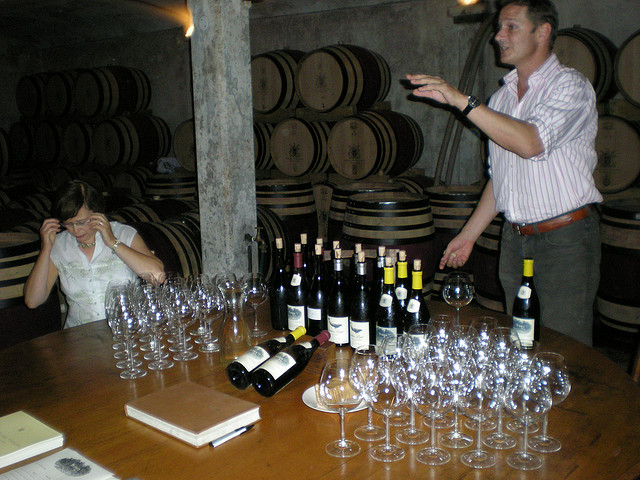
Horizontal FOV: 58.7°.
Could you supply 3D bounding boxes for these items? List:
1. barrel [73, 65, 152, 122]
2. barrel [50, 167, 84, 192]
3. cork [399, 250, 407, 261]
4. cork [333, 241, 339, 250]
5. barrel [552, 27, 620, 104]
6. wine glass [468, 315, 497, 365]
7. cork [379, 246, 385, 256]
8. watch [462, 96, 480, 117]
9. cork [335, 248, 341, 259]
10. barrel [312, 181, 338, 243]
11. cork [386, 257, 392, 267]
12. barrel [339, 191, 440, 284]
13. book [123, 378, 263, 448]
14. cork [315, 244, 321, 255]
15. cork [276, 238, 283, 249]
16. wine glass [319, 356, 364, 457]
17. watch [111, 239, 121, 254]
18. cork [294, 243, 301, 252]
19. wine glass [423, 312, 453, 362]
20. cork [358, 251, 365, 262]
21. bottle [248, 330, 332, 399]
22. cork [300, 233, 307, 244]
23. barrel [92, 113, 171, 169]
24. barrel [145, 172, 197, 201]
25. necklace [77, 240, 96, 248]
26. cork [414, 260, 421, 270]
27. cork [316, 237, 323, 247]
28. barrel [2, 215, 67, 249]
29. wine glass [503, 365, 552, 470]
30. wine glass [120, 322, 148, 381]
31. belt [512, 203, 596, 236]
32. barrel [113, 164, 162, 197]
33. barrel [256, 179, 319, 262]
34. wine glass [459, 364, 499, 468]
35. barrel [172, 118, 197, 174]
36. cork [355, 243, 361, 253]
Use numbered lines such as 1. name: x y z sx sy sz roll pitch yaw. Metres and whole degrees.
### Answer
1. barrel: -3.242 -2.302 8.780 0.613 0.924 1.222 14 23 34
2. barrel: -4.197 -1.008 9.450 0.280 0.379 1.118 -12 18 -38
3. cork: 0.319 0.058 2.230 0.032 0.054 0.033 -3 5 -39
4. cork: 0.065 0.013 2.373 0.021 0.038 0.022 2 1 33
5. barrel: 2.421 -1.594 5.204 0.584 0.679 0.397 3 14 16
6. wine glass: 0.601 0.382 2.116 0.119 0.182 0.127 3 -6 28
7. cork: 0.250 0.045 2.303 0.020 0.040 0.048 1 14 8
8. watch: 0.702 -0.629 2.661 0.076 0.087 0.081 7 2 29
9. cork: 0.073 0.051 2.336 0.023 0.039 0.043 -1 14 1
10. barrel: 0.028 -0.365 6.479 0.496 0.794 0.553 1 4 -1
11. cork: 0.263 0.082 2.197 0.025 0.032 0.026 0 2 1
12. barrel: 0.515 -0.003 4.212 0.615 0.670 0.651 1 3 16
13. book: -0.417 0.548 1.848 0.278 0.041 0.210 7 9 39
14. cork: -0.007 0.040 2.469 0.023 0.050 0.025 -3 14 -6
15. cork: -0.180 0.012 2.556 0.036 0.045 0.037 3 1 44
16. wine glass: 0.068 0.504 1.742 0.147 0.262 0.145 -13 18 -41
17. watch: -1.118 0.040 3.173 0.061 0.069 0.062 1 5 -39
18. cork: -0.095 0.032 2.447 0.028 0.034 0.030 3 3 22
19. wine glass: 0.426 0.349 2.063 0.118 0.222 0.133 3 -2 12
20. cork: 0.162 0.065 2.283 0.022 0.035 0.056 -2 14 -3
21. bottle: -0.135 0.443 2.160 0.110 0.122 0.425 5 22 21
22. cork: -0.075 -0.006 2.538 0.037 0.046 0.038 3 3 35
23. barrel: -2.800 -1.476 8.576 1.140 0.797 0.565 -7 15 -23
24. barrel: -1.622 -0.569 6.133 0.450 0.474 0.459 3 5 45
25. necklace: -1.272 0.020 3.124 0.092 0.031 0.020 -6 14 -18
26. cork: 0.366 0.094 2.161 0.030 0.038 0.031 1 6 5
27. cork: 0.000 0.006 2.511 0.032 0.040 0.034 2 0 35
28. barrel: -1.779 -0.047 3.554 0.239 0.354 0.238 2 6 0
29. wine glass: 0.635 0.544 1.765 0.130 0.323 0.131 3 11 25
30. wine glass: -0.731 0.404 2.207 0.109 0.236 0.109 -6 -1 -7
31. belt: 1.200 -0.101 2.942 0.385 0.178 0.108 4 14 18
32. barrel: -2.646 -0.902 8.312 0.590 0.713 0.546 -1 14 0
33. barrel: -0.287 -0.284 5.305 0.470 0.834 0.480 2 16 -1
34. wine glass: 0.473 0.513 1.708 0.111 0.261 0.174 1 14 11
35. barrel: -1.760 -1.229 7.432 0.253 0.653 0.390 -5 14 -18
36. cork: 0.163 0.028 2.377 0.029 0.049 0.028 0 -3 -43
